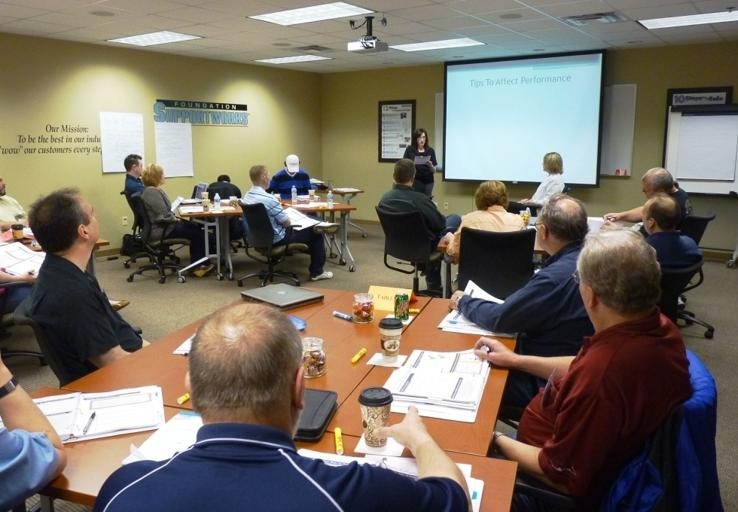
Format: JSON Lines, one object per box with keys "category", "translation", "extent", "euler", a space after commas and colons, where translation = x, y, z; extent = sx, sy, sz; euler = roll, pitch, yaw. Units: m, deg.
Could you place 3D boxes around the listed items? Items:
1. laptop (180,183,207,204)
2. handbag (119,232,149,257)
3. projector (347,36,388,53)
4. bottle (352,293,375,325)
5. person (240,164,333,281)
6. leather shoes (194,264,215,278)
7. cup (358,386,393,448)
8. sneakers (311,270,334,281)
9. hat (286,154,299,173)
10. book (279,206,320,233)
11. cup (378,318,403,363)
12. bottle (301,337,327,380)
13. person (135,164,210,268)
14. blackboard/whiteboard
{"category": "laptop", "translation": [-2.297, -0.853, 7.183], "extent": [0.349, 0.257, 0.406], "euler": [-4, 5, -44]}
{"category": "handbag", "translation": [-2.926, -0.141, 6.675], "extent": [0.367, 0.293, 0.291], "euler": [0, 2, -2]}
{"category": "projector", "translation": [0.012, -2.300, 5.839], "extent": [0.379, 0.132, 0.405], "euler": [-10, 17, -36]}
{"category": "bottle", "translation": [-0.030, 0.278, 2.742], "extent": [0.123, 0.145, 0.125], "euler": [1, 3, 5]}
{"category": "person", "translation": [-0.894, -0.368, 6.237], "extent": [1.013, 1.374, 0.672], "euler": [-10, 18, -36]}
{"category": "leather shoes", "translation": [-2.016, 0.178, 6.528], "extent": [0.138, 0.060, 0.175], "euler": [-6, 19, 31]}
{"category": "cup", "translation": [0.023, 0.566, 1.829], "extent": [0.111, 0.157, 0.113], "euler": [0, -9, 0]}
{"category": "sneakers", "translation": [-0.549, 0.237, 6.268], "extent": [0.235, 0.105, 0.100], "euler": [-7, 13, -27]}
{"category": "hat", "translation": [-1.133, -1.396, 7.856], "extent": [0.191, 0.160, 0.304], "euler": [0, 35, -8]}
{"category": "book", "translation": [-0.786, -0.408, 5.960], "extent": [0.274, 0.103, 0.274], "euler": [-16, 38, -44]}
{"category": "cup", "translation": [0.091, 0.369, 2.337], "extent": [0.121, 0.162, 0.118], "euler": [0, 4, 0]}
{"category": "bottle", "translation": [-0.239, 0.430, 2.266], "extent": [0.113, 0.155, 0.149], "euler": [0, 2, 40]}
{"category": "person", "translation": [-2.341, -0.435, 6.590], "extent": [0.722, 1.416, 0.715], "euler": [-4, 24, -20]}
{"category": "blackboard/whiteboard", "translation": [2.492, -2.039, 8.842], "extent": [2.511, 0.175, 2.796], "euler": [4, 48, 14]}
